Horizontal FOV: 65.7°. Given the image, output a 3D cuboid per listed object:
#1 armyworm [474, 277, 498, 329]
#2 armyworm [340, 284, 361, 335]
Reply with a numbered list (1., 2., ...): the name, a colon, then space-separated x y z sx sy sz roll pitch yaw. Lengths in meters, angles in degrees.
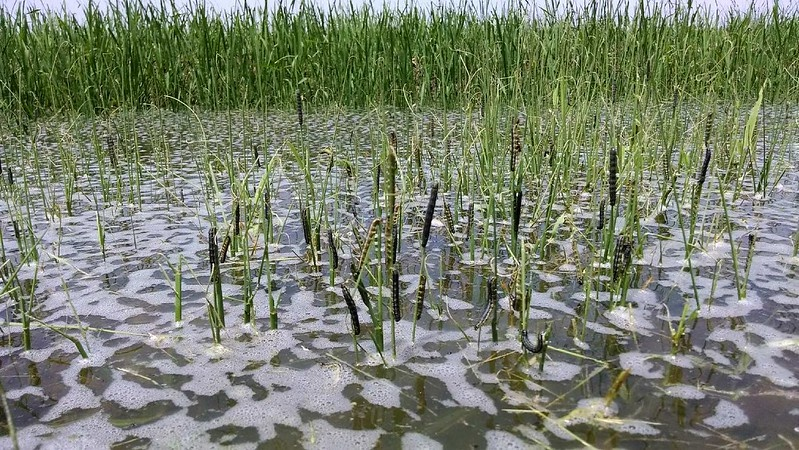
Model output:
1. armyworm: 0.515 0.464 3.697 0.089 0.323 0.188 6 22 19
2. armyworm: -0.314 0.493 3.741 0.069 0.326 0.061 -28 -16 14
